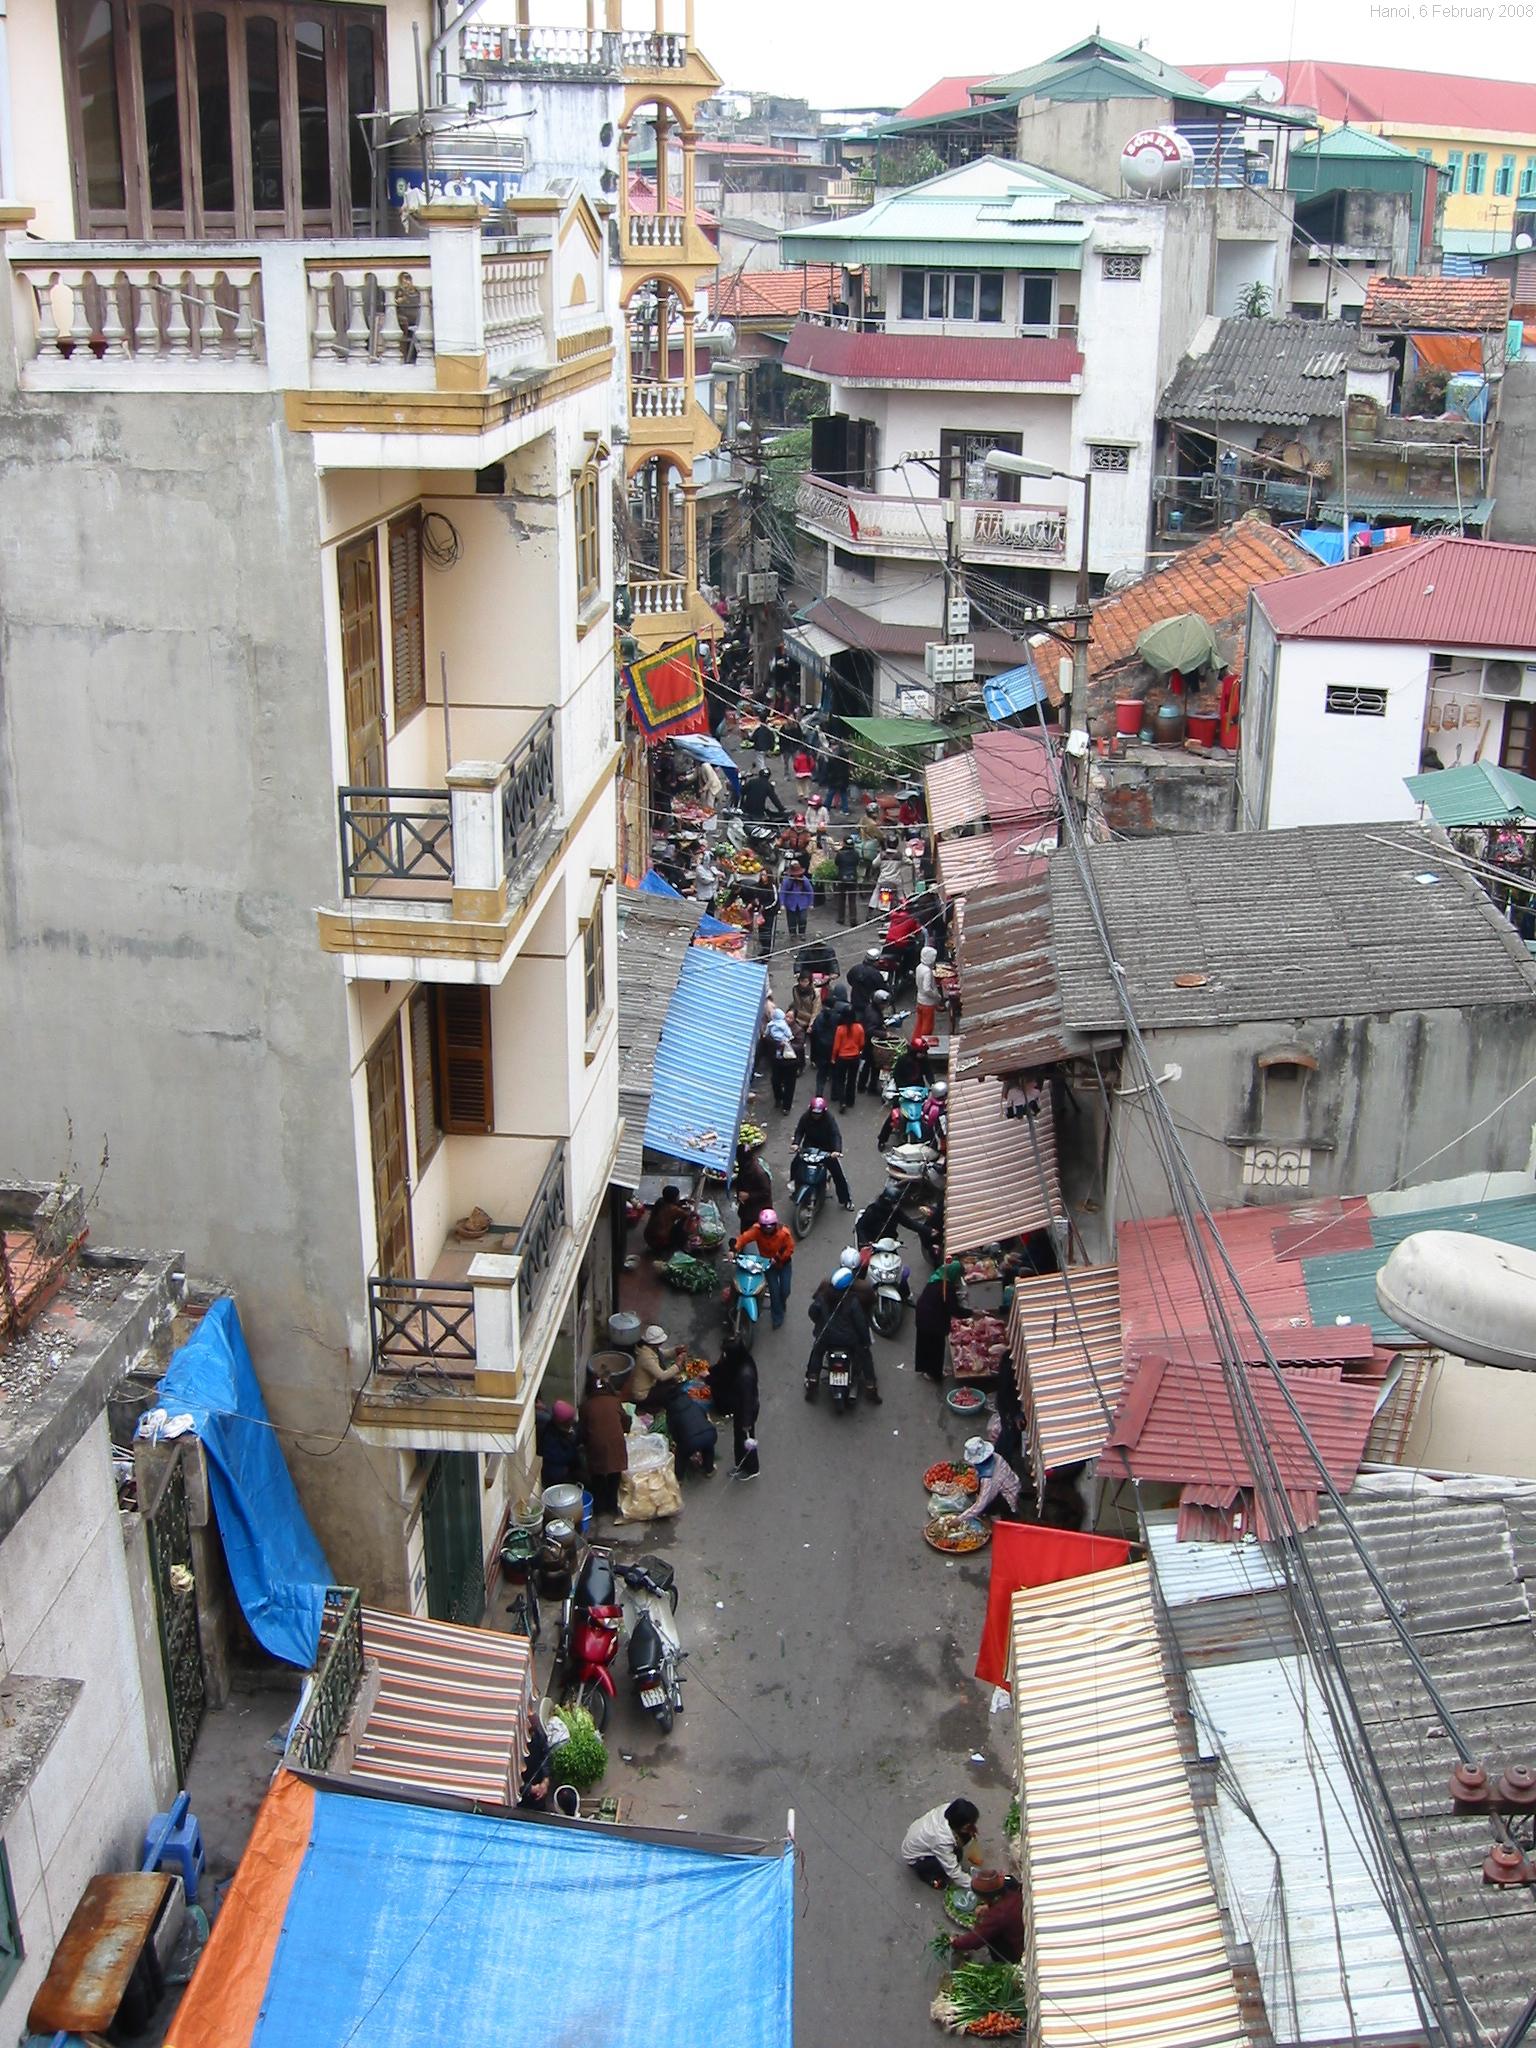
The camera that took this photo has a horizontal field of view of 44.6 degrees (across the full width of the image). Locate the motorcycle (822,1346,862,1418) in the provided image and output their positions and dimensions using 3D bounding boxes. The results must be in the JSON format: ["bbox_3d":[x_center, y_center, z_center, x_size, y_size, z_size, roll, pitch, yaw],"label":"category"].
[{"bbox_3d":[0.721,3.503,18.184,0.296,0.394,0.698,3,42,5],"label":"motorcycle"}]

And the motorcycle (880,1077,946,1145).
[{"bbox_3d":[1.818,1.268,23.436,0.792,0.820,1.481,0,20,5],"label":"motorcycle"}]

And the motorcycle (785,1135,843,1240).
[{"bbox_3d":[0.587,1.891,22.418,0.491,0.663,1.122,1,8,9],"label":"motorcycle"}]

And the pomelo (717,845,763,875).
[{"bbox_3d":[-0.496,-2.854,32.915,0.578,0.328,0.582,-1,14,-1],"label":"pomelo"}]

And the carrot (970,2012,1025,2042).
[{"bbox_3d":[1.311,5.720,10.734,0.339,0.168,0.152,0,-11,-7],"label":"carrot"}]

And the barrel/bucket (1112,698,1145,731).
[{"bbox_3d":[5.325,-4.462,27.421,0.431,0.370,0.435,-2,32,1],"label":"barrel/bucket"}]

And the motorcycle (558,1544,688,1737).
[{"bbox_3d":[-1.086,4.469,14.002,0.605,0.786,1.416,37,22,-19],"label":"motorcycle"}]

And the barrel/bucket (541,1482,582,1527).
[{"bbox_3d":[-1.646,3.882,14.903,0.321,0.258,0.580,-3,20,-2],"label":"barrel/bucket"}]

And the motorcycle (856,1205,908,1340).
[{"bbox_3d":[1.304,2.707,20.377,0.487,0.784,1.404,1,30,3],"label":"motorcycle"}]

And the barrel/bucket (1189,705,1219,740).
[{"bbox_3d":[6.254,-4.257,26.748,0.454,0.398,0.476,2,19,-1],"label":"barrel/bucket"}]

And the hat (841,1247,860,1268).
[{"bbox_3d":[0.835,2.364,18.641,0.154,0.208,0.161,-3,42,4],"label":"hat"}]

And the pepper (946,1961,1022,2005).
[{"bbox_3d":[1.269,5.520,10.784,0.242,0.102,0.236,-5,39,0],"label":"pepper"}]
